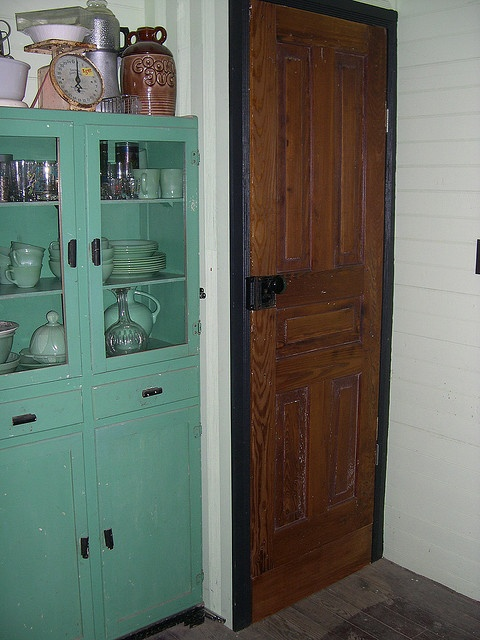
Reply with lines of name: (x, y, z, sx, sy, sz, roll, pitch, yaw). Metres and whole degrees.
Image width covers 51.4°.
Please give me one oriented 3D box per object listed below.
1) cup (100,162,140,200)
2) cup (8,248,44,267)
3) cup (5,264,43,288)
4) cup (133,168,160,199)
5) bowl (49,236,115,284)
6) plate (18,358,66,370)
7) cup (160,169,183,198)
cup: (-0.322, -0.376, 1.370, 0.068, 0.103, 0.094, 14, 21, 40)
cup: (-0.546, -0.161, 1.294, 0.045, 0.050, 0.058, 15, 20, 37)
cup: (-0.555, -0.111, 1.298, 0.060, 0.050, 0.055, -7, 12, -23)
cup: (-0.266, -0.399, 1.462, 0.051, 0.082, 0.088, 3, 31, 3)
bowl: (-0.425, -0.164, 1.355, 0.112, 0.097, 0.137, 9, 13, 33)
plate: (-0.523, 0.109, 1.306, 0.129, 0.030, 0.068, 0, 3, 6)
cup: (-0.198, -0.415, 1.531, 0.068, 0.091, 0.068, 3, 11, -1)
